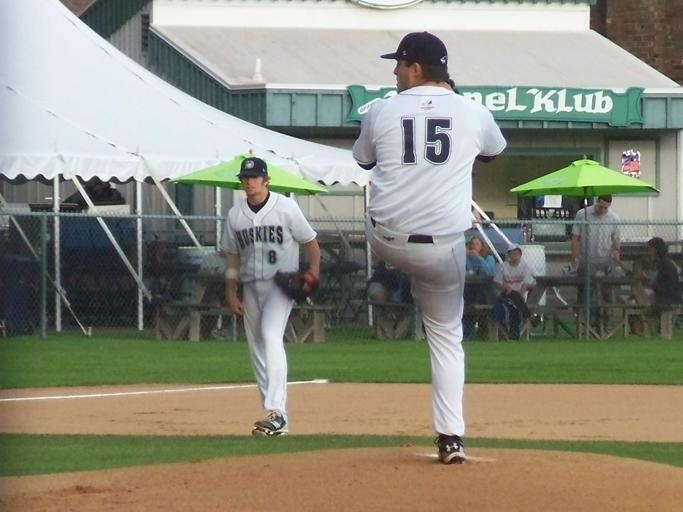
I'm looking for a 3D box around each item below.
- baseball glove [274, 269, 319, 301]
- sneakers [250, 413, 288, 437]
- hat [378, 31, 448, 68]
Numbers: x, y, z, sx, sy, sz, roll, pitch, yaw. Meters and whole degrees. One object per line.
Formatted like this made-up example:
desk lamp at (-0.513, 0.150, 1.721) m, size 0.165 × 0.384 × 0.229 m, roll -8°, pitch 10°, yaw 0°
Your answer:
baseball glove at (-0.653, 0.438, 24.886) m, size 0.377 × 0.303 × 0.499 m, roll 30°, pitch 13°, yaw -11°
sneakers at (-0.996, 2.443, 24.613) m, size 0.537 × 0.289 × 0.243 m, roll 14°, pitch 4°, yaw -39°
hat at (1.065, -2.789, 23.627) m, size 0.632 × 0.377 × 0.413 m, roll 9°, pitch 11°, yaw 11°
